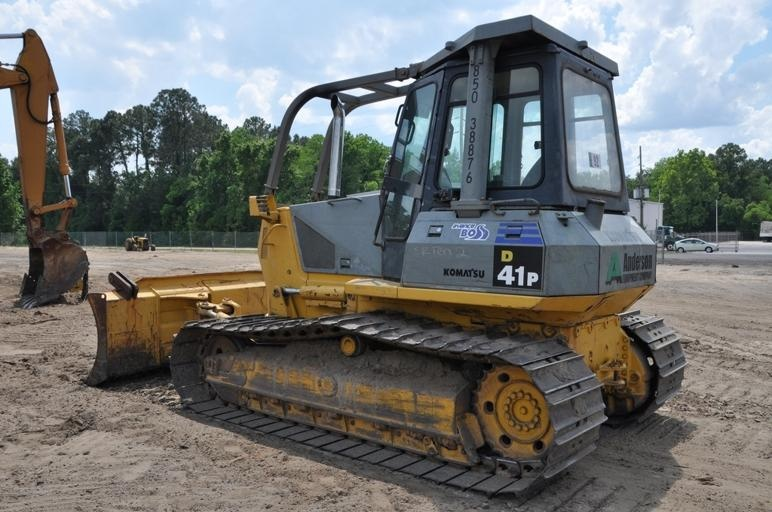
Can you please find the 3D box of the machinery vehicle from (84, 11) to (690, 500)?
[{"bbox_3d":[-0.263,-0.112,8.744,7.134,4.501,4.526,4,5,36],"label":"machinery vehicle"}]
